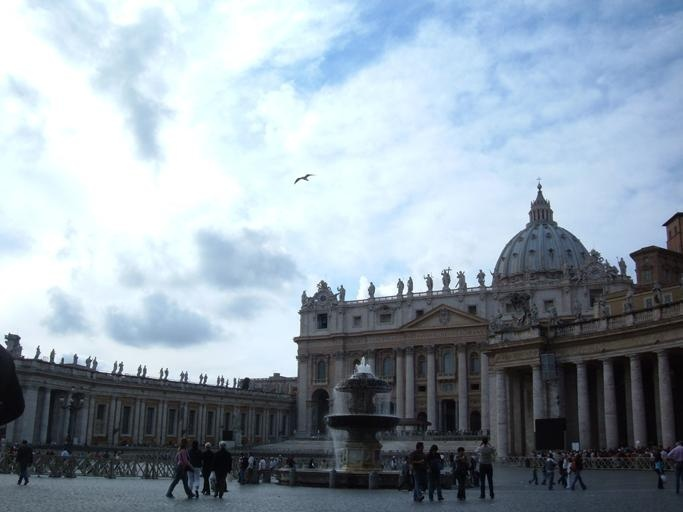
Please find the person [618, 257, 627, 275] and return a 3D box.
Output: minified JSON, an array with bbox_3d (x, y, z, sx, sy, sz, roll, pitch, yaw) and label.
[{"bbox_3d":[24.386,1.169,61.421,0.603,1.755,0.597,6,-50,19],"label":"person"}]
